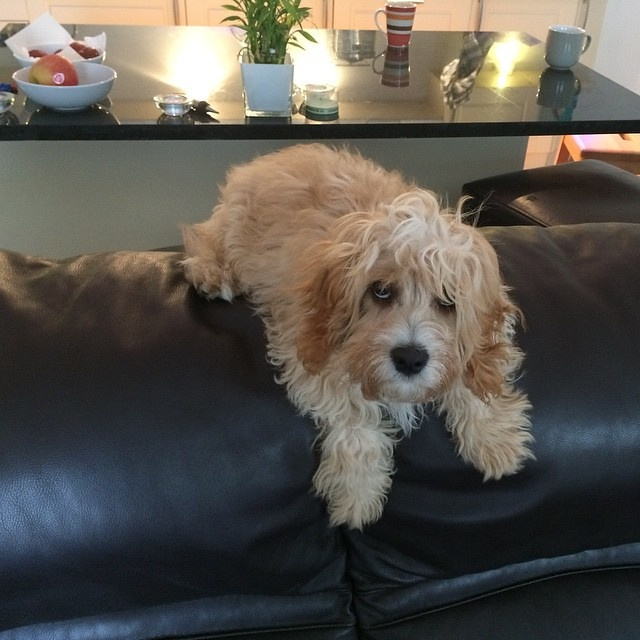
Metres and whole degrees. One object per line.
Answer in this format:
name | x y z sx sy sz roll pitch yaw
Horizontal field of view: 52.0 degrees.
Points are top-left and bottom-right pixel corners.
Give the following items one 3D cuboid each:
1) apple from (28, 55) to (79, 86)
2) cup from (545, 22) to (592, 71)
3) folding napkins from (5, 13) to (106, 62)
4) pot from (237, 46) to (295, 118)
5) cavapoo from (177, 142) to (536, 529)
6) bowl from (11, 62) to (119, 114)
apple | -0.895 -0.837 2.205 0.153 0.095 0.123 -5 31 -14
cup | 1.054 -1.155 2.805 0.216 0.141 0.139 -9 35 -15
folding napkins | -1.023 -1.078 2.549 0.316 0.134 0.429 -34 41 -30
pot | -0.143 -0.819 2.334 0.235 0.175 0.171 12 27 28
cavapoo | 0.023 -0.048 1.391 0.618 0.435 0.862 -7 50 -20
bowl | -0.860 -0.800 2.332 0.323 0.089 0.270 1 27 -2
